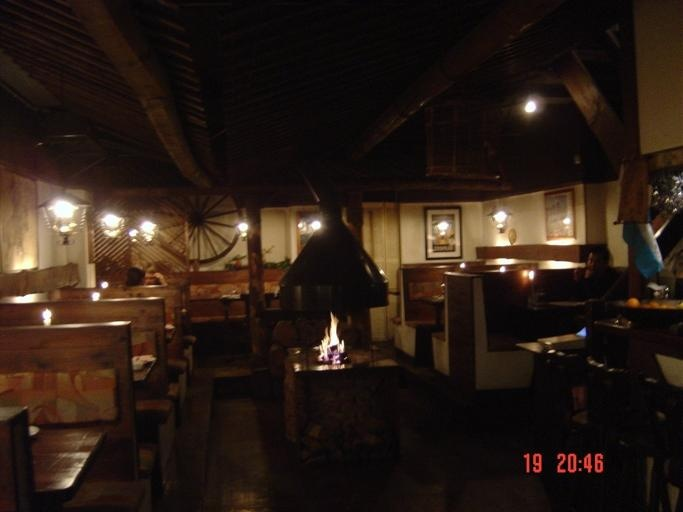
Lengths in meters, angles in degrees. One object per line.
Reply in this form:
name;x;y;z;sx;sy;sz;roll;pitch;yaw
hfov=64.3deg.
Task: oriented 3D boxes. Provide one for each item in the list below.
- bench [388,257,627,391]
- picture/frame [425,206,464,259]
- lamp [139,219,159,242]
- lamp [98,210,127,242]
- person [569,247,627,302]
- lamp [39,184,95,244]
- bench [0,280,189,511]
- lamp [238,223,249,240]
bench;2.532;0.955;9.040;2.607;1.923;3.133;-4;10;-9
picture/frame;2.313;-0.565;12.385;1.156;1.658;0.058;0;0;-12
lamp;-4.424;-0.566;12.380;0.355;0.355;0.366;27;35;25
lamp;-4.640;-0.611;10.897;0.594;0.607;0.146;-7;-20;-28
person;3.920;0.423;8.443;0.661;1.024;0.716;4;10;-39
lamp;-3.540;-0.470;6.958;0.507;0.672;0.541;-8;11;-29
bench;-2.143;1.239;4.710;1.944;1.973;1.065;0;4;2
lamp;-2.228;-0.567;12.351;0.169;0.462;0.331;-1;4;9
